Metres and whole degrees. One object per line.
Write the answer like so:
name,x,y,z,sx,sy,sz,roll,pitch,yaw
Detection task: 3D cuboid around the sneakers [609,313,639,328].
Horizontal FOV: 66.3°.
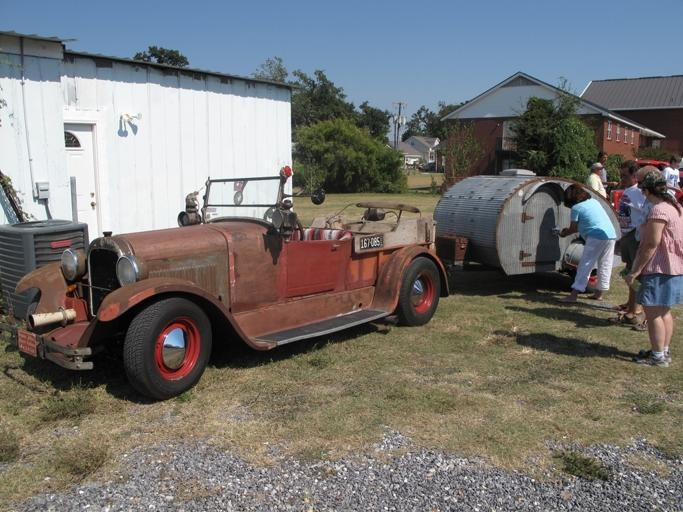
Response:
sneakers,4.058,0.915,7.472,0.416,0.196,0.151,6,3,33

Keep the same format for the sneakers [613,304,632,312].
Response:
sneakers,4.270,0.809,7.976,0.323,0.134,0.117,5,-8,-38

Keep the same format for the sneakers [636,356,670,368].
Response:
sneakers,3.583,1.220,6.007,0.345,0.163,0.133,4,5,36
